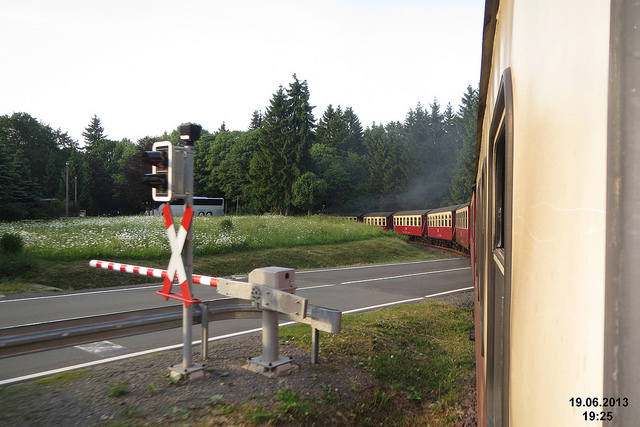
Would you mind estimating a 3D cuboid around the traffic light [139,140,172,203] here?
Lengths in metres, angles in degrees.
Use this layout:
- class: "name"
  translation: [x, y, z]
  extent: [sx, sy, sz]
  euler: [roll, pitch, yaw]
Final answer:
- class: "traffic light"
  translation: [-1.884, -0.488, 5.528]
  extent: [0.305, 0.697, 0.311]
  euler: [0, 1, 33]

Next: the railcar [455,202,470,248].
- class: "railcar"
  translation: [8.246, 0.684, 27.488]
  extent: [0.396, 2.546, 5.915]
  euler: [1, -1, 13]

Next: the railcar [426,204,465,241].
- class: "railcar"
  translation: [9.478, 0.644, 35.020]
  extent: [1.769, 2.563, 5.742]
  euler: [0, -2, -7]
